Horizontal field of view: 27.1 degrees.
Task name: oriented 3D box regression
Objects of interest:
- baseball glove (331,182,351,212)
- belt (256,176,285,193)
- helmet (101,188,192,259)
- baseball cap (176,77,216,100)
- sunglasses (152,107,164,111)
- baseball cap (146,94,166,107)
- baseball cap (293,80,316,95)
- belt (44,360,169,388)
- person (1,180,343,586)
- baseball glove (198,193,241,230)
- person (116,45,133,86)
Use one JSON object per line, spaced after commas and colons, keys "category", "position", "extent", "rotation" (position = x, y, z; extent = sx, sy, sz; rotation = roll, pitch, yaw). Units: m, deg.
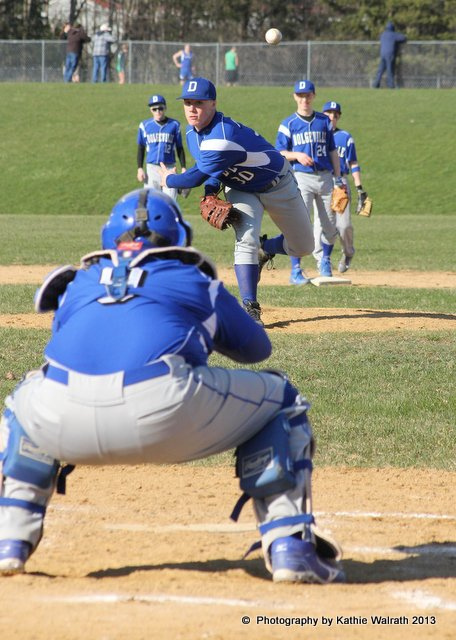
{"category": "baseball glove", "position": [1.193, -1.241, 9.653], "extent": [0.124, 0.302, 0.232], "rotation": [13, -12, -19]}
{"category": "belt", "position": [0.300, -0.958, 6.802], "extent": [0.145, 0.047, 0.106], "rotation": [-40, 16, -2]}
{"category": "helmet", "position": [-0.283, -0.348, 3.391], "extent": [0.248, 0.248, 0.300], "rotation": [1, 18, 2]}
{"category": "baseball cap", "position": [-0.192, -1.523, 6.278], "extent": [0.164, 0.113, 0.227], "rotation": [8, 15, 22]}
{"category": "sunglasses", "position": [-0.987, -2.930, 13.249], "extent": [0.136, 0.045, 0.109], "rotation": [-1, 5, 1]}
{"category": "baseball cap", "position": [-1.005, -3.067, 13.313], "extent": [0.189, 0.171, 0.289], "rotation": [-2, 5, -9]}
{"category": "baseball cap", "position": [0.752, -2.323, 9.458], "extent": [0.179, 0.164, 0.465], "rotation": [-1, 5, 2]}
{"category": "belt", "position": [-0.416, 0.172, 3.069], "extent": [0.444, 0.080, 0.096], "rotation": [0, 6, 18]}
{"category": "person", "position": [-0.217, 0.200, 3.291], "extent": [1.159, 1.319, 0.597], "rotation": [-2, 6, 1]}
{"category": "baseball glove", "position": [-0.077, -0.799, 6.895], "extent": [0.291, 0.215, 0.124], "rotation": [40, 26, 13]}
{"category": "person", "position": [-3.591, -8.936, 33.232], "extent": [0.434, 1.214, 0.988], "rotation": [-6, 7, -34]}
